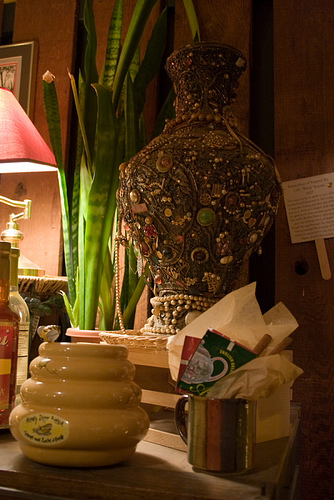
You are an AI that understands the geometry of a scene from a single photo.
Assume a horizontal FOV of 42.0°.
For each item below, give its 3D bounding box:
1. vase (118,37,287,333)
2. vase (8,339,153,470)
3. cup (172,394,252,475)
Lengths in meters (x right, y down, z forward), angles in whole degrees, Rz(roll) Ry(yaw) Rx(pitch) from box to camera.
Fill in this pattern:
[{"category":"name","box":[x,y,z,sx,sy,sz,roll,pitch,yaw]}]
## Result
[{"category":"vase","box":[0.059,-0.090,0.805,0.301,0.502,0.297,4,3,28]},{"category":"vase","box":[-0.086,0.151,0.473,0.132,0.108,0.131,3,-15,0]},{"category":"cup","box":[0.041,0.180,0.451,0.089,0.076,0.057,0,4,10]}]
